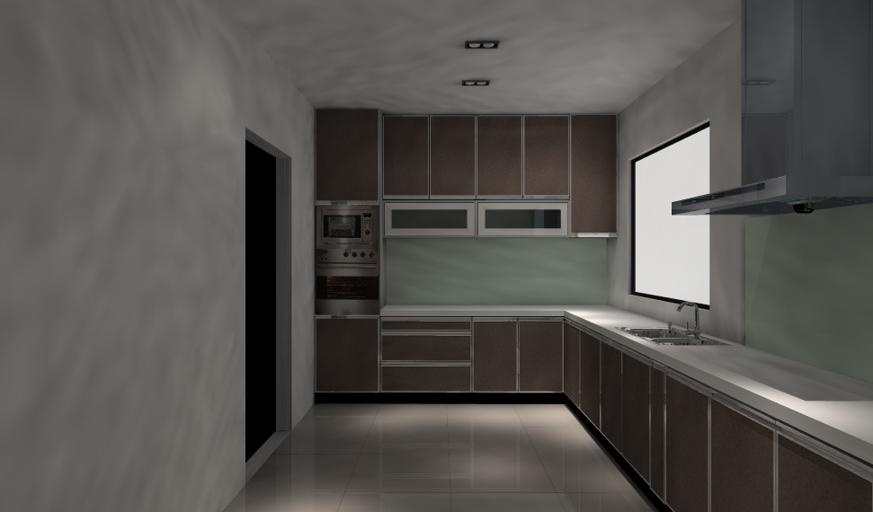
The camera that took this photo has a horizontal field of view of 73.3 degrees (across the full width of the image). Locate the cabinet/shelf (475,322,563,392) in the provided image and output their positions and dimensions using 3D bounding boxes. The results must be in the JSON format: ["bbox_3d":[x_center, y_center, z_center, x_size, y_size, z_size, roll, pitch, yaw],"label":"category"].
[{"bbox_3d":[0.856,1.101,6.780,1.430,0.976,0.708,0,-4,1],"label":"cabinet/shelf"}]

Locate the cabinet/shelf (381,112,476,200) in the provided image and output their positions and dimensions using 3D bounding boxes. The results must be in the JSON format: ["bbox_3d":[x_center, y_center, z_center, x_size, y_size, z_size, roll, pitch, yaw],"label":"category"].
[{"bbox_3d":[-0.161,-1.167,6.868,1.159,0.929,0.359,-4,11,-22],"label":"cabinet/shelf"}]

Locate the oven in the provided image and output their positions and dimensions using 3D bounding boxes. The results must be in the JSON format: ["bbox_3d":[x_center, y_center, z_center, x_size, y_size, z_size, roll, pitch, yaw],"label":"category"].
[{"bbox_3d":[-1.150,0.042,6.832,0.811,1.258,0.687,0,0,-24],"label":"oven"}]

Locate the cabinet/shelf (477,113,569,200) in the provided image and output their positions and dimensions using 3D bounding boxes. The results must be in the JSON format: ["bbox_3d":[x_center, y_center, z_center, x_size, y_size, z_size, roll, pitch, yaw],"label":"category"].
[{"bbox_3d":[1.069,-1.169,6.858,1.149,0.939,0.361,6,14,30],"label":"cabinet/shelf"}]

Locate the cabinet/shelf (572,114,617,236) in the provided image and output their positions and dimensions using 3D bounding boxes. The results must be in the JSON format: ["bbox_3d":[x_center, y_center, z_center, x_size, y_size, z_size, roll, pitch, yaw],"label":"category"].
[{"bbox_3d":[1.768,-0.934,6.760,0.572,1.410,0.172,-1,2,-9],"label":"cabinet/shelf"}]

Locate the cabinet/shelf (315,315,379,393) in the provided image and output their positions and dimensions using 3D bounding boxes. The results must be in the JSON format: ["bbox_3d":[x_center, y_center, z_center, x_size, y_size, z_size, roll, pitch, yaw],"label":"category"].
[{"bbox_3d":[-0.988,1.082,6.800,0.935,1.018,0.762,0,-5,-2],"label":"cabinet/shelf"}]
